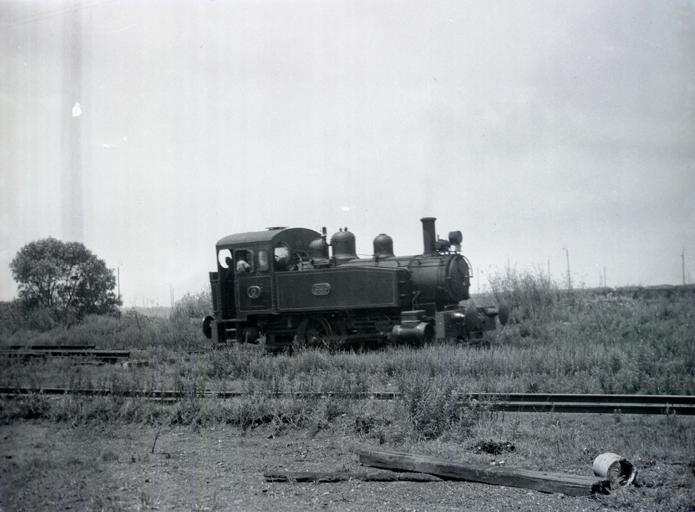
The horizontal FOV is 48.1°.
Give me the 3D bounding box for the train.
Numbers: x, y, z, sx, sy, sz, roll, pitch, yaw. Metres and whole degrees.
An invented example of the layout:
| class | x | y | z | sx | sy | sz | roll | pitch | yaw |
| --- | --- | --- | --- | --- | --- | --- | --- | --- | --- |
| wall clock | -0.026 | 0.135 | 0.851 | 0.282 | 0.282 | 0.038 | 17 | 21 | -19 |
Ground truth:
| class | x | y | z | sx | sy | sz | roll | pitch | yaw |
| --- | --- | --- | --- | --- | --- | --- | --- | --- | --- |
| train | -0.126 | 0.940 | 22.173 | 7.803 | 3.826 | 3.278 | -3 | -5 | 29 |
